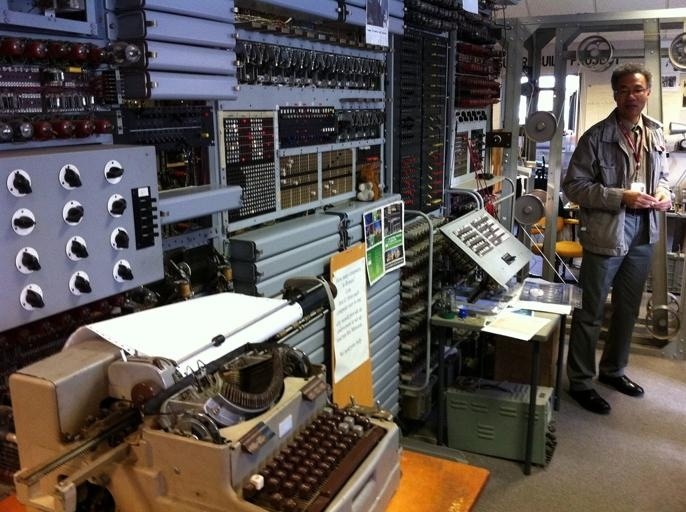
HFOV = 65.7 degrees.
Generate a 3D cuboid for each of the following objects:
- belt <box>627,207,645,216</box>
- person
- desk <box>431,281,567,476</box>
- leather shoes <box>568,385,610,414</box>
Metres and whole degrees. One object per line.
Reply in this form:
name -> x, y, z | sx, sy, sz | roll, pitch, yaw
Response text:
belt -> 2.419, -0.359, 4.371 | 0.087, 0.032, 0.093 | -1, 8, -17
person -> 2.300, -0.131, 4.453 | 0.781, 2.812, 0.629 | -8, 14, -26
desk -> 1.261, 0.967, 4.233 | 1.029, 1.253, 1.241 | 6, 13, 29
leather shoes -> 2.108, 1.234, 4.587 | 0.135, 0.164, 0.374 | -11, 16, -27
